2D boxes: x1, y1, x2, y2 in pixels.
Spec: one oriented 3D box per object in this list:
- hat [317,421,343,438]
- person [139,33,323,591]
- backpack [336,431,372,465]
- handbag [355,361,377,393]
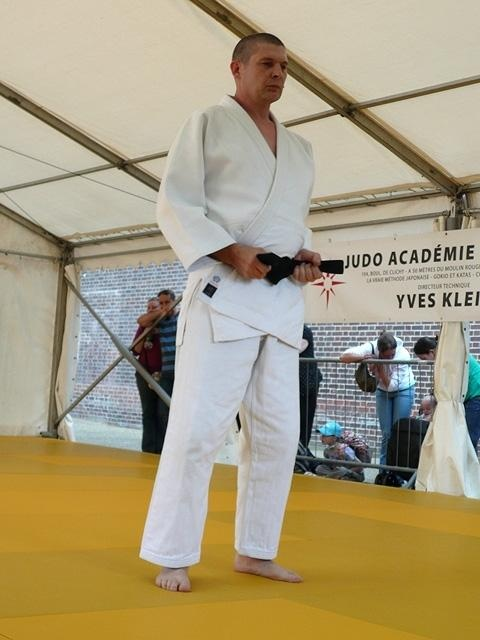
[{"bbox_3d":[0.791,0.934,5.279,0.171,0.088,0.119,7,1,4],"label":"hat"},{"bbox_3d":[0.018,-0.067,1.796,0.512,1.158,0.324,9,-4,-33],"label":"person"},{"bbox_3d":[0.951,1.047,5.062,0.243,0.152,0.093,33,-30,4],"label":"backpack"},{"bbox_3d":[1.066,0.468,5.146,0.141,0.233,0.175,-11,-40,-3],"label":"handbag"}]
